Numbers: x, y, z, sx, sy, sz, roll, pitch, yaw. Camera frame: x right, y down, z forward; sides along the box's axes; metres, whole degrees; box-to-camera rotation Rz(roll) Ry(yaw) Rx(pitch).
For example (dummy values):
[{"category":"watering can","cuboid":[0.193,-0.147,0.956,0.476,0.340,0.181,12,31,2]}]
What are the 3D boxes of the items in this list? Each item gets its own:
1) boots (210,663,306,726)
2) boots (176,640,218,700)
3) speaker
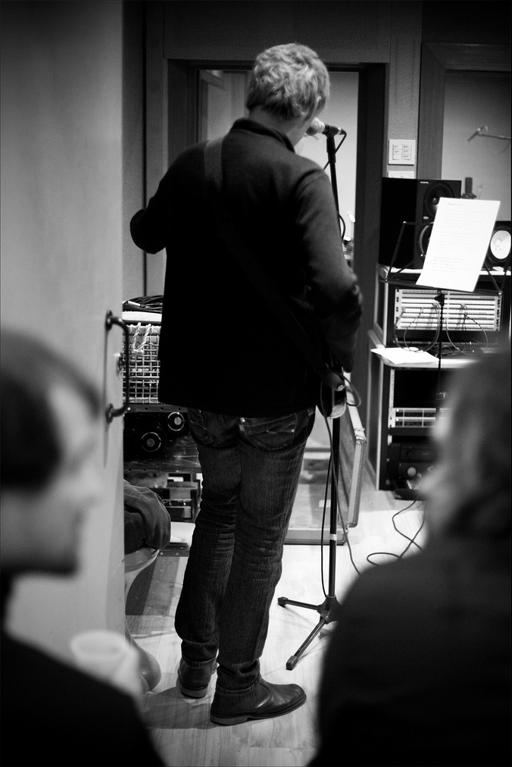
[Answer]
[{"category":"boots","cuboid":[0.002,0.628,1.410,0.175,0.164,0.085,-3,-6,-16]},{"category":"boots","cuboid":[-0.128,0.615,1.460,0.041,0.065,0.130,3,9,1]},{"category":"speaker","cuboid":[0.458,-0.490,2.019,0.198,0.279,0.454,6,10,36]}]
